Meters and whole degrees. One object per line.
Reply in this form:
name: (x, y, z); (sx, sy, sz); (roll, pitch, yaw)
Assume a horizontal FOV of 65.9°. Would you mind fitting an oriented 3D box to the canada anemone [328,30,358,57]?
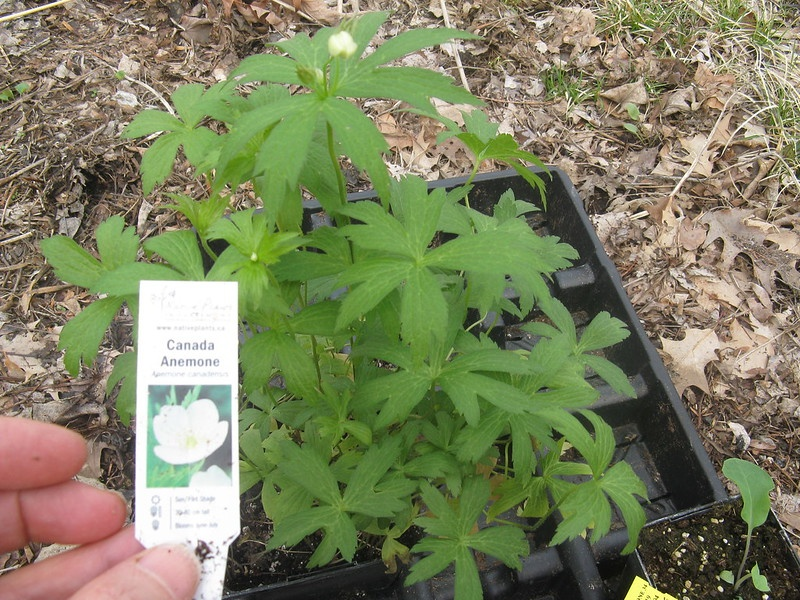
canada anemone: (-0.209, -0.904, 2.191); (0.085, 0.080, 0.084); (16, 51, -5)
